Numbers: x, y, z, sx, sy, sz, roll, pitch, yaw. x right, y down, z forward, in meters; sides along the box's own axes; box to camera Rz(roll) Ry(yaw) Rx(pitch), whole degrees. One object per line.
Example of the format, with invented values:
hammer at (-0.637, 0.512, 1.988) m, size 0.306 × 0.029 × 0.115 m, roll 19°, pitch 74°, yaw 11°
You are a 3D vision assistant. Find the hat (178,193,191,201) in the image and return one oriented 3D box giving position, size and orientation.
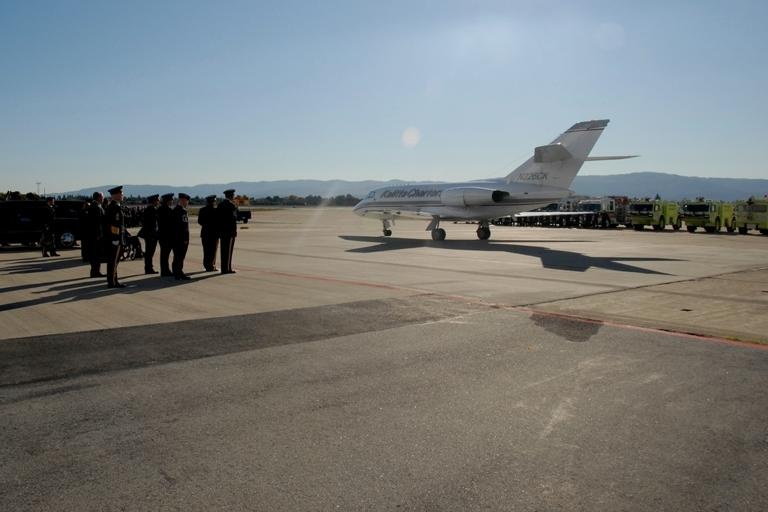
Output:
hat at (-7.311, -2.123, 14.671) m, size 0.468 × 0.312 × 0.403 m, roll -4°, pitch 0°, yaw 7°

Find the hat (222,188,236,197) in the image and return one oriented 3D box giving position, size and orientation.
hat at (-6.164, -2.483, 16.093) m, size 0.554 × 0.185 × 0.586 m, roll -4°, pitch 6°, yaw -27°

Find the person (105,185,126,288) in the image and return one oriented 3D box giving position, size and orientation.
person at (-8.437, -0.480, 12.568) m, size 0.570 × 2.885 × 1.432 m, roll -5°, pitch 10°, yaw -33°
